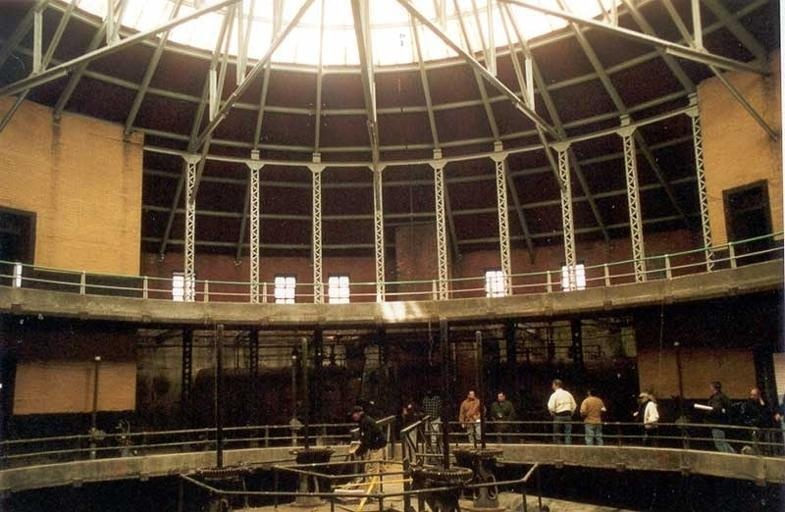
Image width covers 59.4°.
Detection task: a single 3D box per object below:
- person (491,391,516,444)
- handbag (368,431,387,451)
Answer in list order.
[{"bbox_3d":[5.325,7.983,33.693,1.123,2.694,0.861,-4,11,1],"label":"person"},{"bbox_3d":[-0.578,6.626,24.832,0.724,0.732,0.736,0,-1,3],"label":"handbag"}]
